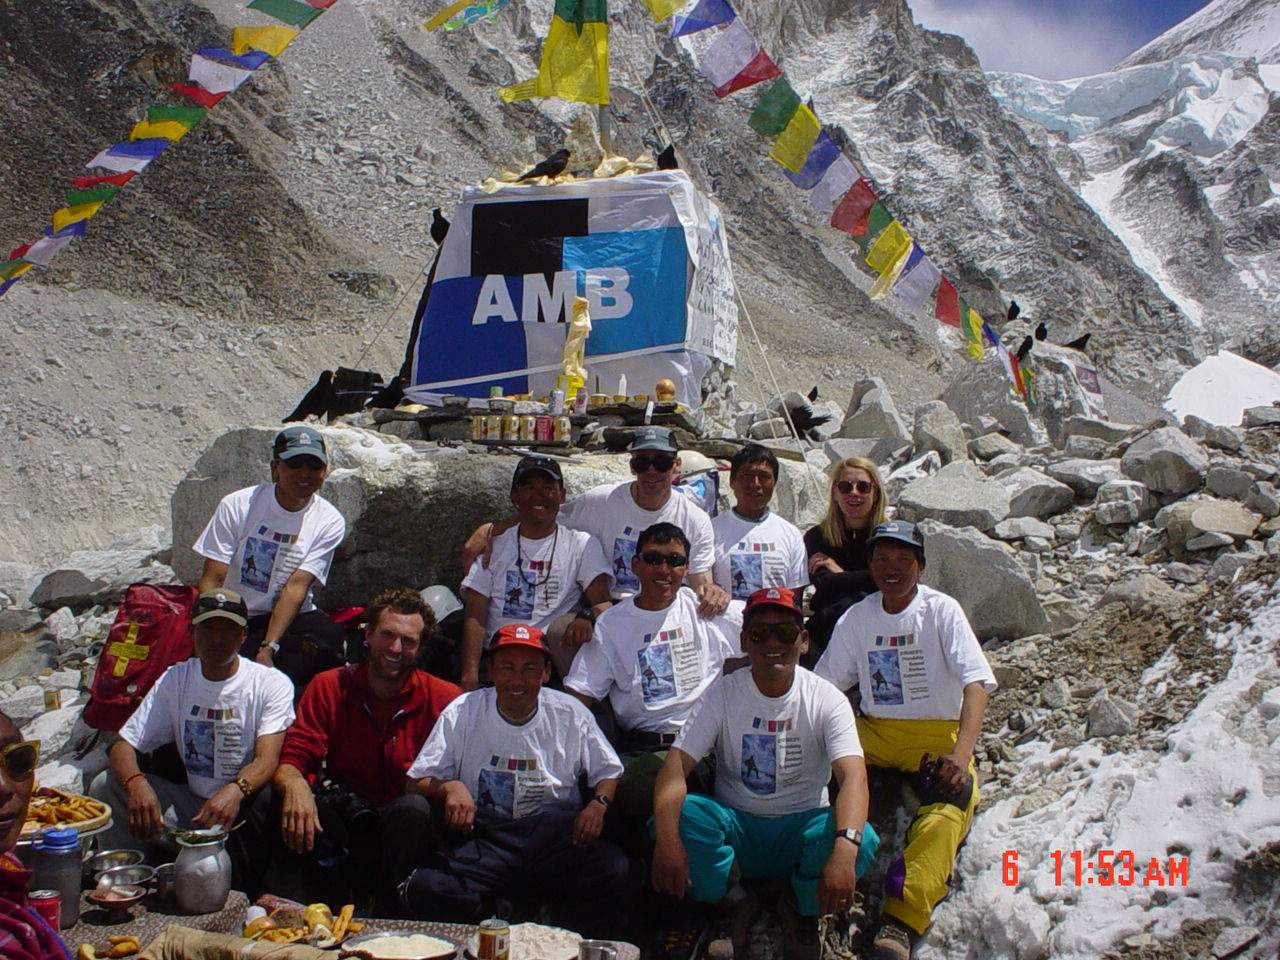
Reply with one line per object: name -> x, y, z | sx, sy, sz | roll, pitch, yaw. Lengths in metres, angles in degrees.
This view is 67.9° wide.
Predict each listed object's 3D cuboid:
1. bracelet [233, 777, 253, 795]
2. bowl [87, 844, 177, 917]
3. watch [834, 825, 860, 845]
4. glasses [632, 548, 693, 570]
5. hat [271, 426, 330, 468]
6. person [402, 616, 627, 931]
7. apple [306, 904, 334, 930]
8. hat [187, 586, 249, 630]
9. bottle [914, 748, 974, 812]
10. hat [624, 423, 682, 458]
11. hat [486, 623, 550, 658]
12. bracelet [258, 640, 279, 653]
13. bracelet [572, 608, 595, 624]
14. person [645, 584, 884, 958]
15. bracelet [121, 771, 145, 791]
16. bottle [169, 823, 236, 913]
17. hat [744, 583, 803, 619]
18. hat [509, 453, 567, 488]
bracelet -> -2.245, 1.724, 5.361 | 0.104, 0.103, 0.075 | 13, -2, -18
bowl -> -2.615, 2.058, 4.888 | 0.268, 0.136, 0.371 | 16, -2, 42
watch -> 1.045, 1.794, 4.879 | 0.119, 0.072, 0.120 | 16, -13, 14
glasses -> 0.124, 0.480, 5.867 | 0.298, 0.108, 0.129 | 12, -2, -2
hat -> -2.398, -0.235, 6.725 | 0.271, 0.298, 0.364 | 15, -3, -43
person -> -0.690, 1.716, 5.337 | 1.276, 1.598, 0.945 | 1, -8, -7
apple -> -1.515, 2.072, 4.499 | 0.114, 0.107, 0.080 | -2, 20, -1
hat -> -2.443, 0.761, 5.552 | 0.275, 0.239, 0.176 | 13, -2, -22
bottle -> 1.720, 1.703, 5.384 | 0.320, 0.282, 0.454 | 11, -3, 21
hat -> 0.099, -0.259, 6.635 | 0.306, 0.209, 0.242 | 12, -2, 0
hat -> -0.667, 0.897, 5.329 | 0.303, 0.167, 0.254 | 12, -2, -5
bracelet -> -2.453, 1.116, 6.304 | 0.095, 0.064, 0.103 | 4, -3, 35
bracelet -> -0.372, 0.892, 6.282 | 0.114, 0.073, 0.109 | 1, -40, 33
person -> 0.680, 1.489, 5.147 | 1.089, 1.794, 0.651 | 12, -2, 4
bracelet -> -2.866, 1.693, 5.387 | 0.073, 0.069, 0.090 | 14, -3, -33
bottle -> -2.238, 2.015, 4.927 | 0.273, 0.335, 0.364 | -1, -6, 4
hat -> 0.732, 0.671, 5.249 | 0.290, 0.148, 0.309 | 12, -3, 7
hat -> -0.712, -0.073, 6.649 | 0.323, 0.242, 0.475 | 3, -4, -4
